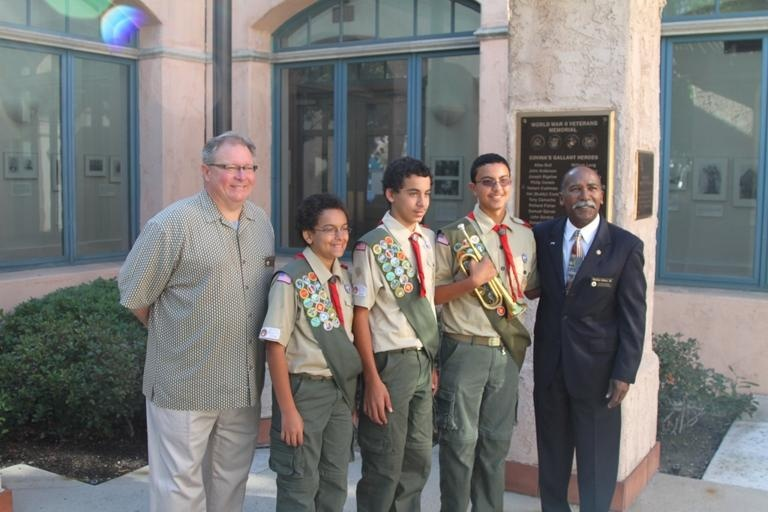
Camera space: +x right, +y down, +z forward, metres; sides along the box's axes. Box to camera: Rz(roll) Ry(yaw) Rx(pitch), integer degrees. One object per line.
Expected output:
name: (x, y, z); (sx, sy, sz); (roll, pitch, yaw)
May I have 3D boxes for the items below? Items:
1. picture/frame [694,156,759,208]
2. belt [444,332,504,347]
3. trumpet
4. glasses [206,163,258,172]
picture/frame: (3.905, -0.860, 8.533); (0.648, 0.533, 0.158); (6, 8, 39)
belt: (0.623, 0.582, 5.230); (0.396, 0.088, 0.077); (1, 7, 5)
trumpet: (0.706, 0.145, 5.376); (0.349, 0.796, 0.274); (-31, -1, -7)
glasses: (-1.019, -0.599, 4.974); (0.322, 0.053, 0.145); (-2, 7, -16)
